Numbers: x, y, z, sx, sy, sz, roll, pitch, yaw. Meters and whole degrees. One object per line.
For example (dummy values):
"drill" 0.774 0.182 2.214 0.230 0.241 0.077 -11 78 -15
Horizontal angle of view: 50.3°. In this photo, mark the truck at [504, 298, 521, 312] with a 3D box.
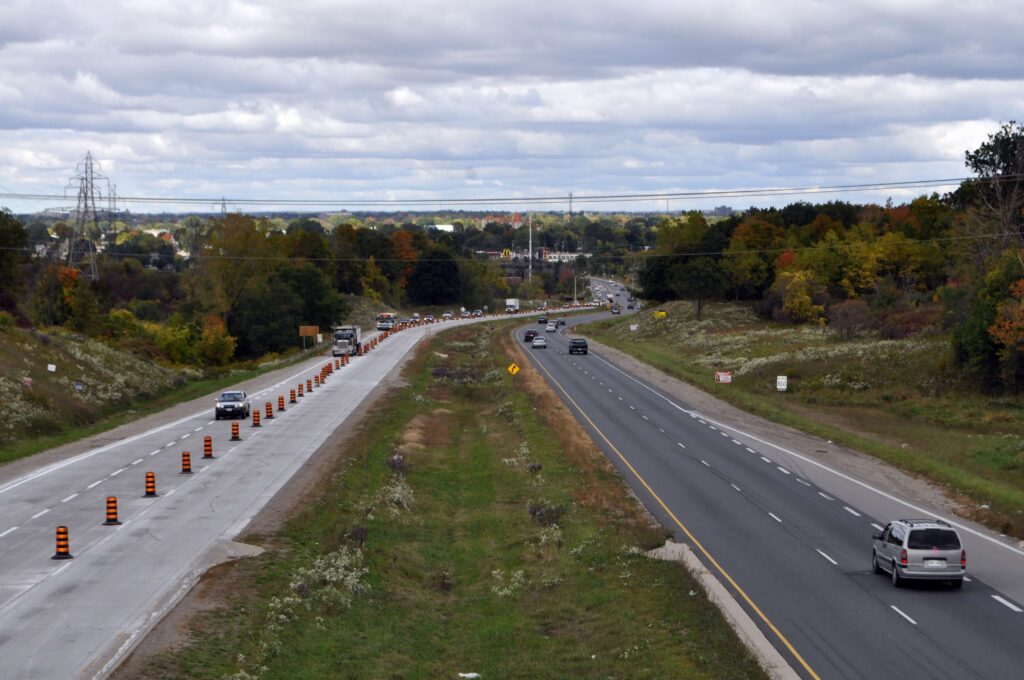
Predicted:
"truck" 0.017 -7.105 230.176 2.316 2.213 3.992 -1 -5 2

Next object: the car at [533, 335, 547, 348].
"car" 3.397 0.298 133.338 1.667 1.328 3.625 0 1 -1
